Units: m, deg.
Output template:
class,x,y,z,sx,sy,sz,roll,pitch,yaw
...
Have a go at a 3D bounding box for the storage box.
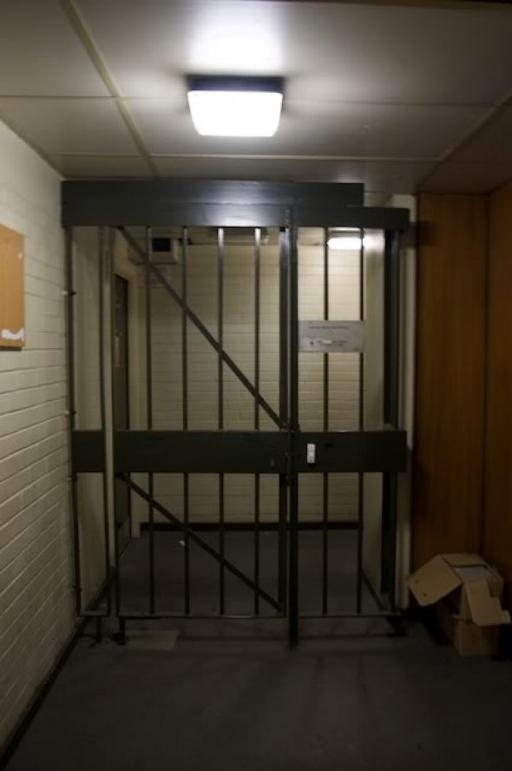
class,x,y,z,sx,sy,sz,roll,pitch,yaw
storage box,0.684,0.712,2.121,0.234,0.214,0.266,0,1,-6
